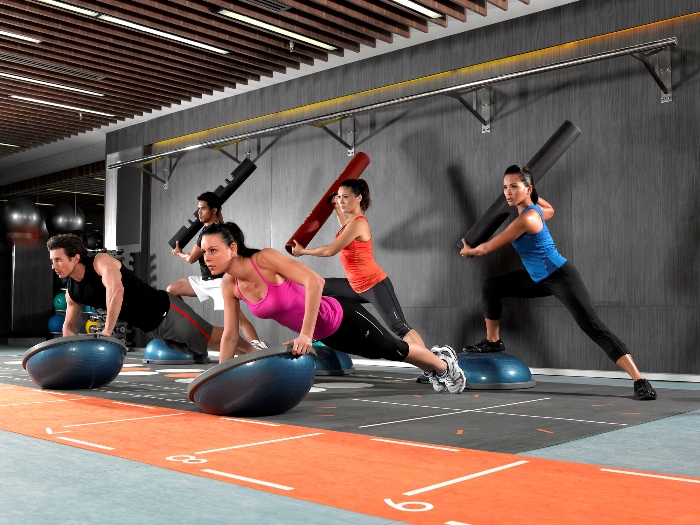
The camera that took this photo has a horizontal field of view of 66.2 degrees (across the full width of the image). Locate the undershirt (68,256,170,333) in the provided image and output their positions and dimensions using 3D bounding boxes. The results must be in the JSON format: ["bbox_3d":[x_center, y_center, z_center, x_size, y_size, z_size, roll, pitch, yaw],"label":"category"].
[{"bbox_3d":[-1.868,0.295,4.481,0.827,0.284,0.494,27,-53,-32],"label":"undershirt"}]

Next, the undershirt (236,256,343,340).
[{"bbox_3d":[-0.343,0.230,3.225,0.639,0.491,0.403,1,-6,-12],"label":"undershirt"}]

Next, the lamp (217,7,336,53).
[{"bbox_3d":[-0.860,-2.726,6.191,1.182,0.054,0.136,6,4,-40],"label":"lamp"}]

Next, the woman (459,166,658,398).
[{"bbox_3d":[1.597,0.113,4.244,0.839,1.680,2.055,1,3,-22],"label":"woman"}]

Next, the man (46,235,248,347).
[{"bbox_3d":[-1.701,0.440,4.773,0.709,1.092,1.867,-20,-22,39],"label":"man"}]

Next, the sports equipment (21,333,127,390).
[{"bbox_3d":[-2.099,0.846,4.172,0.772,0.259,0.731,-4,-28,-22],"label":"sports equipment"}]

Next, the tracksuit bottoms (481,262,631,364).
[{"bbox_3d":[1.555,0.393,4.310,0.393,0.727,1.294,2,-6,-15],"label":"tracksuit bottoms"}]

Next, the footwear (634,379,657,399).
[{"bbox_3d":[2.043,0.898,3.752,0.092,0.083,0.199,-4,-11,4],"label":"footwear"}]

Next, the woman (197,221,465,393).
[{"bbox_3d":[-0.028,0.390,3.456,1.917,0.980,0.758,17,-32,-32],"label":"woman"}]
